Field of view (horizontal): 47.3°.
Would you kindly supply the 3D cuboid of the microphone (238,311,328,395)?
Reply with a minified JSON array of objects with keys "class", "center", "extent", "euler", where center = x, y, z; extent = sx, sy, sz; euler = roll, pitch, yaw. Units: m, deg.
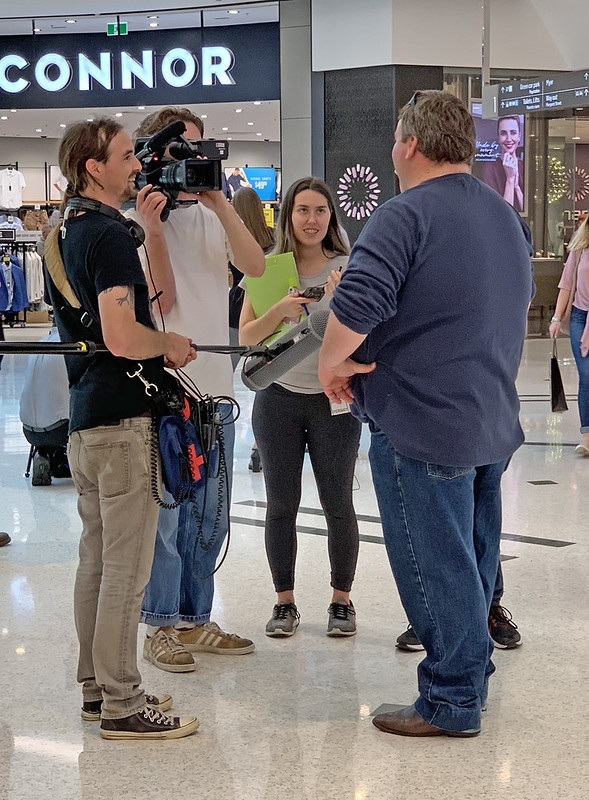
[{"class":"microphone","center":[-0.033,-0.140,1.962],"extent":[0.350,0.189,0.147],"euler":[0,1,44]}]

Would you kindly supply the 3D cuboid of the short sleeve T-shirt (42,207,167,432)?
[{"class":"short sleeve T-shirt","center":[-0.424,-0.181,1.470],"extent":[0.276,0.477,0.320],"euler":[-1,0,-6]}]

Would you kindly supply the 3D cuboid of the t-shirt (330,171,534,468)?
[{"class":"t-shirt","center":[0.288,-0.171,1.403],"extent":[0.388,0.432,0.307],"euler":[0,0,12]}]

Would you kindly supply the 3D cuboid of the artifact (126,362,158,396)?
[{"class":"artifact","center":[-0.328,-0.046,1.476],"extent":[0.043,0.078,0.013],"euler":[-44,27,-28]}]

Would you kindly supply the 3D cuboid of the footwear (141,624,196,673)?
[{"class":"footwear","center":[-0.381,0.770,2.083],"extent":[0.074,0.096,0.209],"euler":[4,-8,-36]}]

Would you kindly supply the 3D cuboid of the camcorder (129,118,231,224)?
[{"class":"camcorder","center":[-0.307,-0.588,1.723],"extent":[0.229,0.237,0.220],"euler":[14,22,37]}]

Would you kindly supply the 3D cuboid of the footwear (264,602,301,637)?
[{"class":"footwear","center":[-0.032,0.749,2.308],"extent":[0.136,0.093,0.103],"euler":[-1,0,-19]}]

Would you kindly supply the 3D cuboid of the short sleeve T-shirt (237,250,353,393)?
[{"class":"short sleeve T-shirt","center":[0.053,-0.259,2.294],"extent":[0.111,0.425,0.468],"euler":[16,-35,-39]}]

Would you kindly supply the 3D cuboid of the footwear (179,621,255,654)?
[{"class":"footwear","center":[-0.246,0.772,2.210],"extent":[0.272,0.109,0.093],"euler":[2,-7,7]}]

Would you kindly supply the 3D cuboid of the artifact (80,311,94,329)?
[{"class":"artifact","center":[-0.444,-0.174,1.464],"extent":[0.028,0.015,0.038],"euler":[23,-26,25]}]
